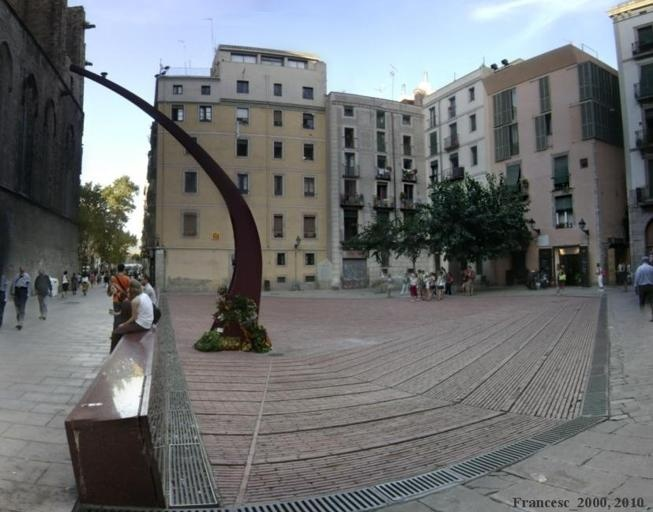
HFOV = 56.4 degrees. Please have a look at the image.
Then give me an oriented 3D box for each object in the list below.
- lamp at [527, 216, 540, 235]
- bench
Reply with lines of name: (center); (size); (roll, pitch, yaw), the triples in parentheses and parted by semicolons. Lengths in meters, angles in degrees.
lamp: (13.731, -2.054, 40.438); (0.569, 1.316, 1.309); (-1, 5, -6)
bench: (-2.211, 2.051, 6.544); (0.922, 1.232, 0.920); (-1, 5, -12)
